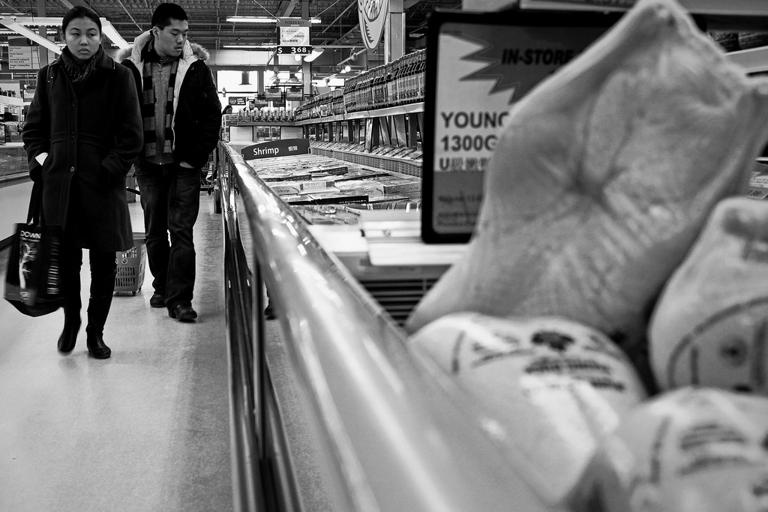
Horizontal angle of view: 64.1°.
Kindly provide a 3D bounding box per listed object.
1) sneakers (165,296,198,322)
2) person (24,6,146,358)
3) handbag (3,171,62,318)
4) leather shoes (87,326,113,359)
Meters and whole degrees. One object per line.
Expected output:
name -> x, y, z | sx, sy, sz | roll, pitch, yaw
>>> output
sneakers -> -1.284, 0.344, 3.891 | 0.094, 0.103, 0.241 | -5, 3, -34
person -> -1.546, -0.363, 3.174 | 0.540, 1.776, 0.439 | -5, 10, -31
handbag -> -1.703, 0.062, 2.951 | 0.257, 0.450, 0.111 | -5, 10, -28
leather shoes -> -1.476, 0.457, 3.234 | 0.222, 0.180, 0.085 | 0, -2, 43
